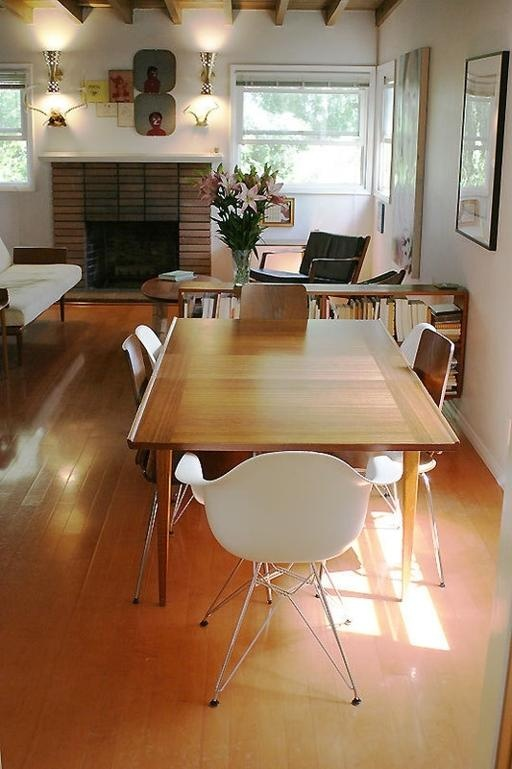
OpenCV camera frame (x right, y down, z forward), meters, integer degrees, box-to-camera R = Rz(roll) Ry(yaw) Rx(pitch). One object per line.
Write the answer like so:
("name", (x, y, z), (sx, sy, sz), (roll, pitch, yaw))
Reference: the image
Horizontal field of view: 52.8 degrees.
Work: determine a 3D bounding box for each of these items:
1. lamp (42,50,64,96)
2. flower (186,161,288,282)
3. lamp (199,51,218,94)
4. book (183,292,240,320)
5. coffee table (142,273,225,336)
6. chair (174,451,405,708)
("lamp", (-2.548, -3.939, 6.522), (0.196, 0.477, 0.141), (2, 10, 7))
("flower", (-0.089, -1.138, 3.705), (0.599, 0.843, 0.394), (2, 10, 7))
("lamp", (-0.591, -3.891, 6.494), (0.189, 0.470, 0.131), (-1, 10, -10))
("book", (-0.333, -0.597, 3.936), (0.398, 0.156, 0.342), (0, 19, -3))
("coffee table", (-0.725, -0.773, 4.599), (0.681, 0.586, 0.752), (0, 23, 0))
("chair", (0.062, 0.476, 1.442), (0.453, 0.658, 0.512), (-2, -11, -13))
